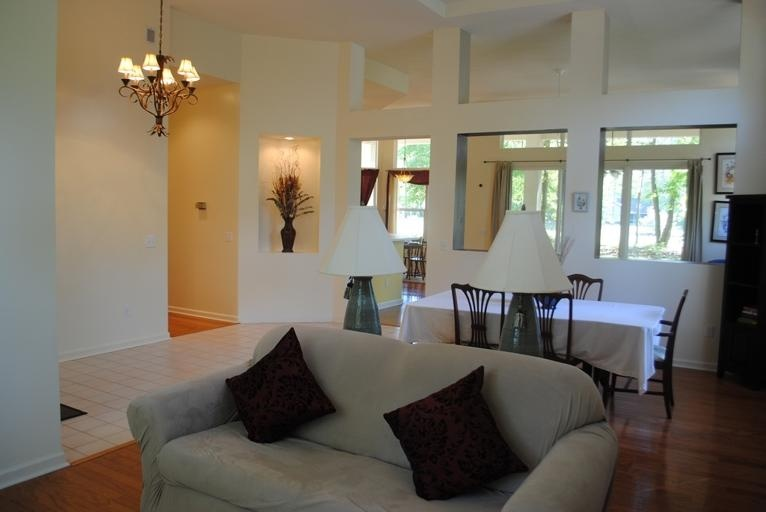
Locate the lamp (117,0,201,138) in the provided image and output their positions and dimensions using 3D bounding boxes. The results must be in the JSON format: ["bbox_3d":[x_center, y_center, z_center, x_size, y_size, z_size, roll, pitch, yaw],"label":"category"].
[{"bbox_3d":[-2.731,-2.333,6.389,0.943,1.693,2.198,-3,12,-19],"label":"lamp"}]

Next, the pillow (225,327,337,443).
[{"bbox_3d":[-0.786,0.813,3.606,0.178,0.795,0.824,19,-5,39],"label":"pillow"}]

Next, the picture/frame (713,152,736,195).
[{"bbox_3d":[6.645,-1.620,10.222,0.323,0.817,0.309,3,11,11],"label":"picture/frame"}]

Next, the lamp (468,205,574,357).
[{"bbox_3d":[0.829,0.162,3.929,0.824,1.296,0.860,3,2,6],"label":"lamp"}]

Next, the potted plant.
[{"bbox_3d":[-1.439,-0.910,8.110,0.488,1.636,0.648,12,16,44],"label":"potted plant"}]

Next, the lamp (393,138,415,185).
[{"bbox_3d":[0.684,-2.566,14.118,0.764,1.149,0.964,-1,11,-12],"label":"lamp"}]
